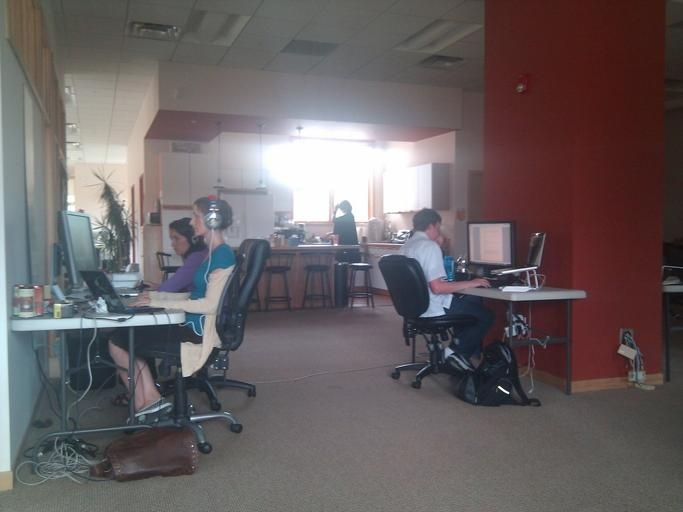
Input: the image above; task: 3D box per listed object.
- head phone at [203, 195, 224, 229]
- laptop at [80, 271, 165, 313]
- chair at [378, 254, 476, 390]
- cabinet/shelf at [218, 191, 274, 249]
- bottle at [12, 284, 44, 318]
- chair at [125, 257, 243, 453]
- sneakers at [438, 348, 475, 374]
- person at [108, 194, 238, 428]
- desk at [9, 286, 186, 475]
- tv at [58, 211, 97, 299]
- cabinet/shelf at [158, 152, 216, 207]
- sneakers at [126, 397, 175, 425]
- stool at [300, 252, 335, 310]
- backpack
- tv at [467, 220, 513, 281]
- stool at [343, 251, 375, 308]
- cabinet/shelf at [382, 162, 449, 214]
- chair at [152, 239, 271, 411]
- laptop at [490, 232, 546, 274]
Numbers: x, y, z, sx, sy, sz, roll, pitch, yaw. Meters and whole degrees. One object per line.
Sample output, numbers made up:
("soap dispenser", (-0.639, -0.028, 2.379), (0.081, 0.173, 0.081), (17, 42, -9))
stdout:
("head phone", (-0.870, -0.268, 3.896), (0.109, 0.262, 0.274), (0, -11, -11))
("laptop", (-1.321, 0.168, 3.402), (0.303, 0.197, 0.313), (1, 0, -34))
("chair", (0.706, 0.519, 4.803), (0.722, 1.070, 0.687), (-3, -1, -6))
("cabinet/shelf", (-1.821, -0.711, 10.306), (1.075, 1.095, 0.626), (-2, -4, 12))
("bottle", (-1.737, 0.255, 3.181), (0.166, 0.189, 0.147), (0, 6, -15))
("chair", (-1.000, 0.609, 3.728), (0.744, 1.193, 0.744), (3, -1, 0))
("sneakers", (0.941, 0.861, 4.639), (0.210, 0.086, 0.153), (24, -1, 15))
("person", (-1.143, 0.377, 3.841), (0.761, 1.521, 0.600), (6, -4, -19))
("desk", (-1.428, 0.662, 3.485), (1.079, 0.939, 0.559), (-1, 3, -18))
("tv", (-1.772, -0.014, 3.896), (0.165, 0.549, 0.540), (-5, 5, -8))
("cabinet/shelf", (-2.554, -1.255, 9.737), (0.904, 0.944, 0.312), (0, -1, -8))
("sneakers", (-1.194, 1.008, 3.652), (0.318, 0.119, 0.129), (-25, 18, -5))
("stool", (-0.353, 0.380, 8.795), (0.517, 0.850, 0.417), (-1, 7, -11))
("backpack", (1.195, 0.917, 4.419), (0.663, 0.470, 0.368), (1, -6, 0))
("tv", (1.323, -0.060, 4.970), (0.100, 0.472, 0.482), (-7, 7, -38))
("stool", (0.330, 0.477, 9.290), (0.674, 0.715, 0.693), (0, 5, 14))
("cabinet/shelf", (1.326, -1.163, 9.867), (0.250, 0.611, 1.502), (0, 0, -16))
("chair", (-0.890, 0.457, 4.026), (0.663, 1.112, 0.633), (3, 3, -10))
("laptop", (1.392, -0.032, 4.620), (0.413, 0.333, 0.399), (-4, -4, 6))
